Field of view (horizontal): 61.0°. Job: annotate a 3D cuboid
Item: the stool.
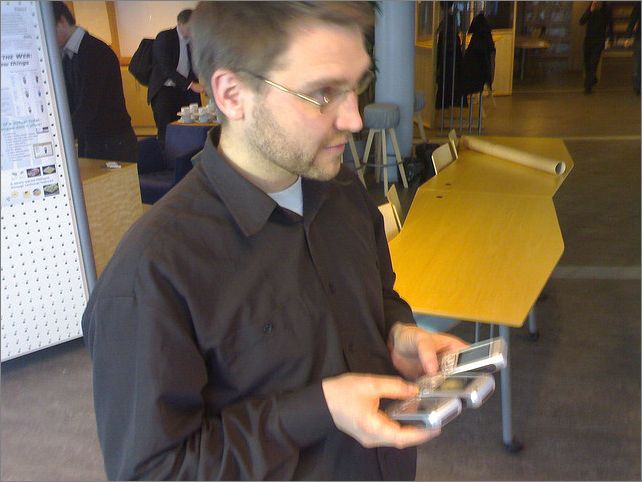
[{"bbox_3d":[0.720,-1.105,6.381,0.448,0.985,0.496,16,27,40],"label":"stool"}]
